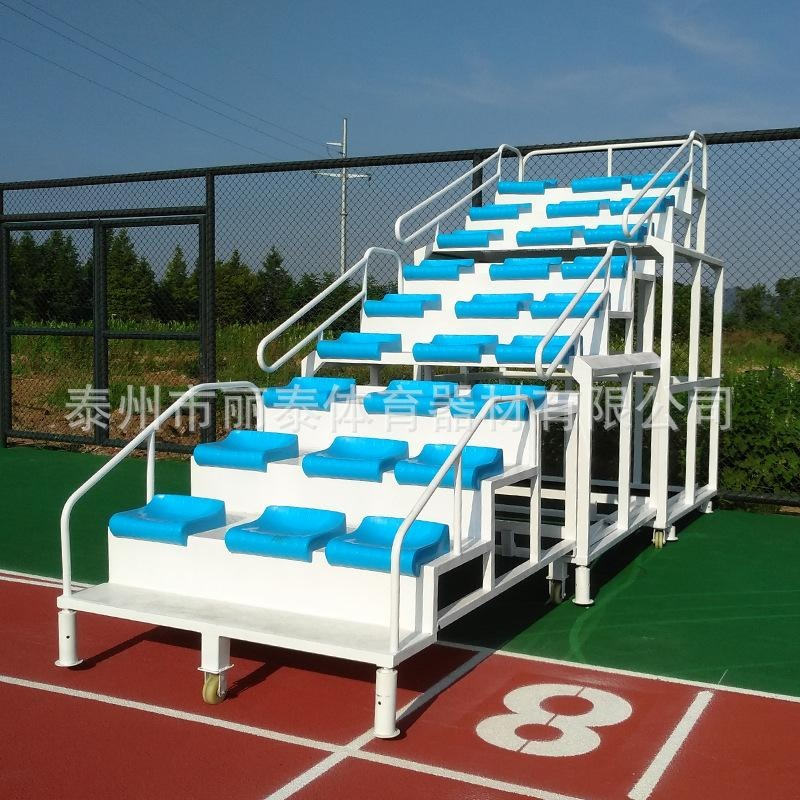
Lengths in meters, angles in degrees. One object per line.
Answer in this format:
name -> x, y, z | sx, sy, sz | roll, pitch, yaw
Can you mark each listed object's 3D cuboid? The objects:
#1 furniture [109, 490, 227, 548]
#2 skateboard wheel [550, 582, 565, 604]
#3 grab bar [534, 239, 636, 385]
furniture -> -1.211, 0.610, 5.060 | 0.531, 0.185, 0.427 | 3, 7, 23
skateboard wheel -> 0.957, 1.154, 5.898 | 0.091, 0.158, 0.135 | 1, 6, 4
grab bar -> 1.231, -0.615, 6.449 | 0.073, 0.466, 1.684 | 7, 41, 25
